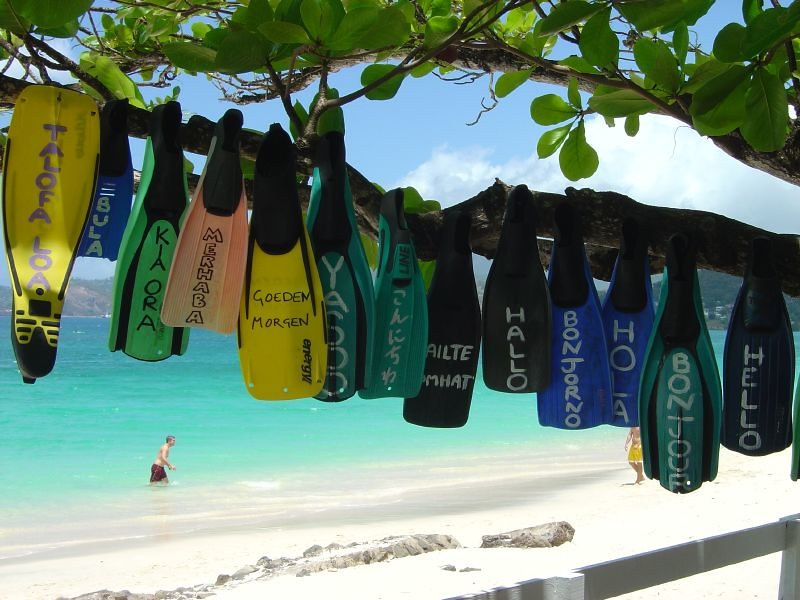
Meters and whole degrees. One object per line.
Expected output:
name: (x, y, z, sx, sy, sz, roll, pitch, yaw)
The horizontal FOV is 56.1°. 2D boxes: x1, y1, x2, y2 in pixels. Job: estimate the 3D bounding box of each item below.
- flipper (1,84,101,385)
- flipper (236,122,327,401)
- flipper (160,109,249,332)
flipper: (-1.113, -0.235, 2.359, 0.260, 0.978, 0.183, -1, 0, 1)
flipper: (-0.391, -0.126, 2.472, 0.293, 0.829, 0.094, -1, 0, -8)
flipper: (-0.627, -0.255, 2.403, 0.276, 0.686, 0.125, -1, 0, -12)
